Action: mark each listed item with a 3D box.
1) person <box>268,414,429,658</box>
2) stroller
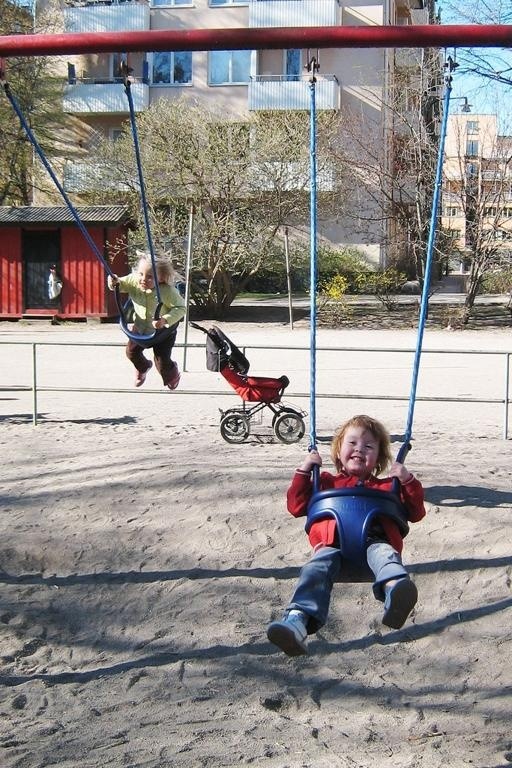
[{"bbox_3d":[0.378,0.602,3.725,0.516,1.080,0.578,0,1,0],"label":"person"},{"bbox_3d":[-0.015,-0.007,8.338,1.206,1.371,0.789,-4,6,-1],"label":"stroller"}]
